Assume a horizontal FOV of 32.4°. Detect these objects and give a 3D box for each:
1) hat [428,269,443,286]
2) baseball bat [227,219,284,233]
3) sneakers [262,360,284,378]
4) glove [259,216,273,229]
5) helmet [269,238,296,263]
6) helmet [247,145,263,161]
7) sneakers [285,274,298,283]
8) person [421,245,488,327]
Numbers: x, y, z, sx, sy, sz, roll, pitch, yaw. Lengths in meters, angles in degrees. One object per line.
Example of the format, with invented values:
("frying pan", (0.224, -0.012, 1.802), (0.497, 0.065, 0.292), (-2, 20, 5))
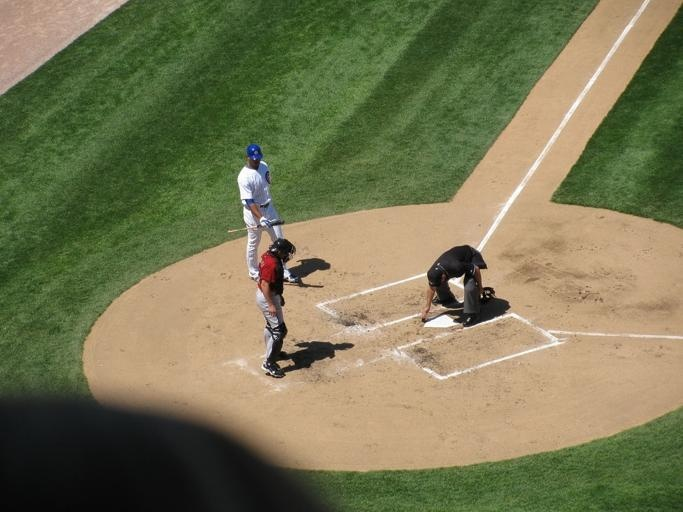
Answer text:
("hat", (1.653, 0.387, 20.967), (0.222, 0.182, 0.291), (4, 77, 4))
("baseball bat", (-1.646, -0.583, 22.953), (0.877, 0.172, 0.133), (-11, 68, 10))
("sneakers", (-1.218, 1.968, 20.555), (0.407, 0.183, 0.195), (22, 41, 20))
("glove", (-1.415, -0.626, 22.068), (0.203, 0.073, 0.196), (6, 33, -25))
("helmet", (-1.067, -0.149, 20.319), (0.431, 0.347, 0.333), (-12, 54, -17))
("helmet", (-1.660, -1.949, 22.109), (0.277, 0.190, 0.365), (-17, 45, -18))
("sneakers", (-0.963, 0.424, 22.647), (0.305, 0.127, 0.114), (28, 45, 37))
("person", (2.048, 0.516, 21.266), (1.060, 1.163, 1.013), (3, 43, 12))
